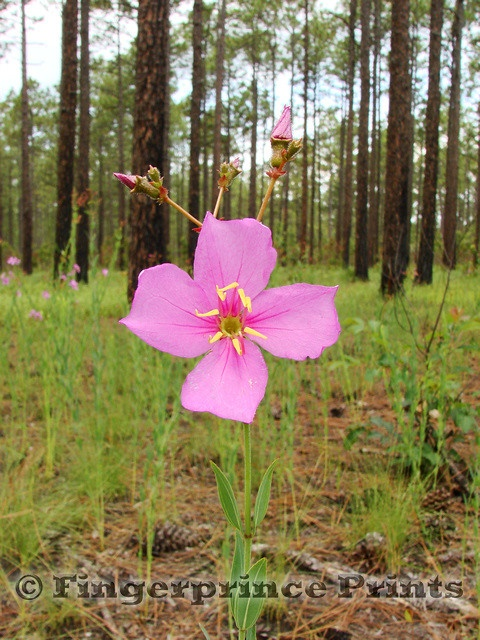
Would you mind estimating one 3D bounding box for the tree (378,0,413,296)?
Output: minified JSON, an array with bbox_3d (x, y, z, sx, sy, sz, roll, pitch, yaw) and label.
[{"bbox_3d":[1.114,-1.225,5.281,0.195,2.049,0.692,3,6,11],"label":"tree"}]
